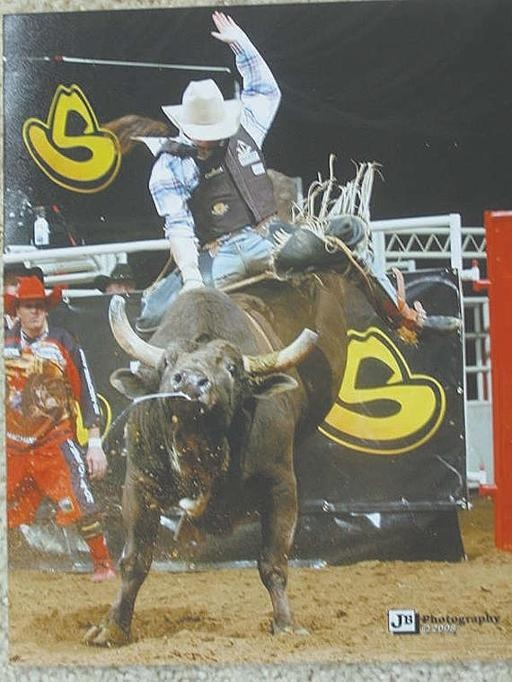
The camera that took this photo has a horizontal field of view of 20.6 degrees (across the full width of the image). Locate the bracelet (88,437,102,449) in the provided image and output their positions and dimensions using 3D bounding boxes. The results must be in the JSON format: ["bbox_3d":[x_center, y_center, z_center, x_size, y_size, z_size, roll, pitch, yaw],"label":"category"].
[{"bbox_3d":[-0.692,0.437,6.067,0.045,0.035,0.047,-3,-4,43],"label":"bracelet"}]
